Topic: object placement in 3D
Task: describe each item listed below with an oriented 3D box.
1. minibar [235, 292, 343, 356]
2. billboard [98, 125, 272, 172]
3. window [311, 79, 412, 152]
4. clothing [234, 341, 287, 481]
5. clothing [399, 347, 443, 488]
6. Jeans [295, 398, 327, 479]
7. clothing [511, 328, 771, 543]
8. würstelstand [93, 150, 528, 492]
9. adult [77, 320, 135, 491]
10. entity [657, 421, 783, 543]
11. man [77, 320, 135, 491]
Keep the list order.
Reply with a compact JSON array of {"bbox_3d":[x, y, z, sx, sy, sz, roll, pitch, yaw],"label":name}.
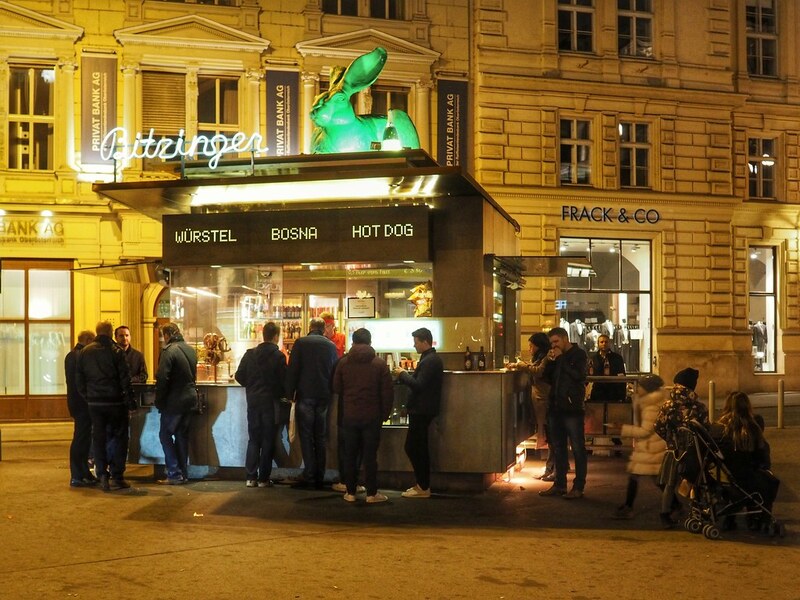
[{"bbox_3d":[-2.005,0.437,22.061,1.208,0.993,0.375,1,-8,-16],"label":"minibar"},{"bbox_3d":[-4.446,-2.944,25.031,2.323,0.543,2.219,0,-1,12],"label":"billboard"},{"bbox_3d":[-0.683,-3.248,21.999,1.631,1.573,0.678,1,-2,-15],"label":"window"},{"bbox_3d":[-2.250,1.899,21.085,1.100,2.301,0.855,0,-5,20],"label":"clothing"},{"bbox_3d":[0.325,1.889,20.127,0.673,2.234,0.309,1,-2,-1],"label":"clothing"},{"bbox_3d":[-1.436,2.327,20.699,0.548,1.422,0.256,1,-2,-9],"label":"Jeans"},{"bbox_3d":[4.256,2.043,20.018,4.733,2.766,1.586,1,-2,31],"label":"clothing"},{"bbox_3d":[-0.589,0.651,22.833,6.277,4.389,6.294,-2,-7,15],"label":"würstelstand"},{"bbox_3d":[-4.833,1.726,20.758,0.909,2.703,0.500,1,-2,-1],"label":"adult"},{"bbox_3d":[4.944,2.680,18.687,2.000,2.082,1.340,-2,-6,-1],"label":"entity"},{"bbox_3d":[-4.833,1.725,20.755,0.907,2.703,0.499,1,-2,-2],"label":"man"}]
